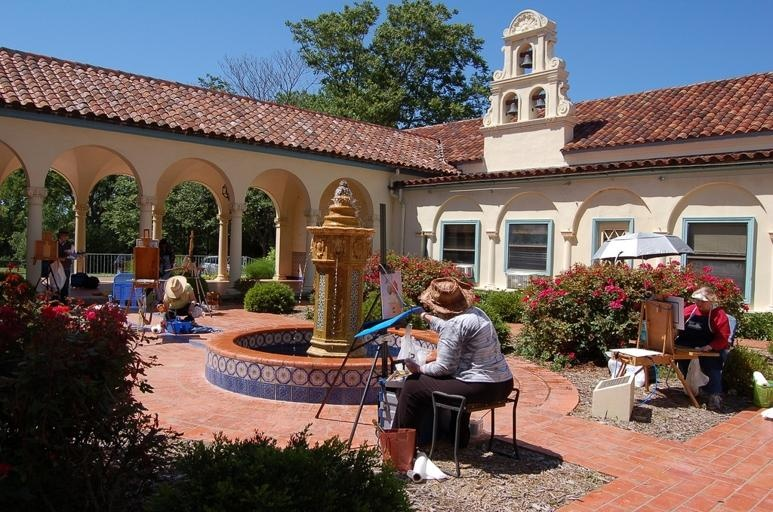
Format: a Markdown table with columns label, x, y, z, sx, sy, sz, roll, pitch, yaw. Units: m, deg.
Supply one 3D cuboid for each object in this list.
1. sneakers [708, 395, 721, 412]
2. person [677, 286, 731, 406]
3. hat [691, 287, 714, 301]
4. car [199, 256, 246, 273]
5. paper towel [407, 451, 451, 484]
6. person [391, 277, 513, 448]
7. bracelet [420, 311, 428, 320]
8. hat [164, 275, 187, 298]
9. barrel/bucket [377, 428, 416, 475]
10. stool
| label | x | y | z | sx | sy | sz | roll | pitch | yaw |
| --- | --- | --- | --- | --- | --- | --- | --- | --- | --- |
| sneakers | 5.050 | 2.246 | 9.293 | 0.198 | 0.180 | 0.410 | 4 | 6 | 29 |
| person | 4.997 | 1.398 | 9.572 | 0.644 | 1.807 | 0.787 | -4 | 8 | -43 |
| hat | 4.976 | 0.604 | 9.458 | 0.295 | 0.206 | 0.198 | 4 | 6 | 22 |
| car | -7.804 | 0.360 | 29.192 | 2.316 | 0.722 | 4.780 | 0 | 5 | -15 |
| paper towel | 0.454 | 2.336 | 6.699 | 0.477 | 0.245 | 0.283 | 1 | 6 | -9 |
| person | 0.771 | 1.297 | 6.999 | 1.310 | 2.061 | 0.440 | 2 | 6 | 7 |
| bracelet | 0.436 | 0.717 | 7.119 | 0.083 | 0.059 | 0.084 | -1 | 1 | 3 |
| hat | -4.652 | 0.667 | 13.278 | 0.446 | 0.483 | 0.158 | 2 | -17 | 11 |
| barrel/bucket | 0.130 | 2.104 | 6.618 | 0.568 | 0.436 | 0.563 | 1 | -4 | 0 |
| stool | 1.082 | 2.074 | 7.283 | 0.565 | 0.814 | 1.324 | 0 | -6 | 40 |
